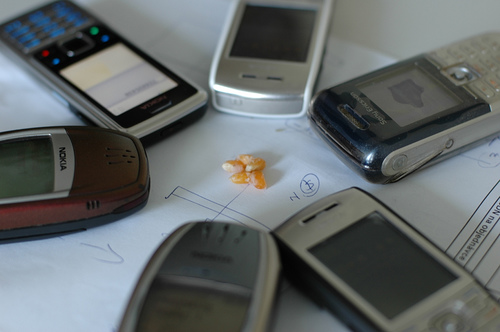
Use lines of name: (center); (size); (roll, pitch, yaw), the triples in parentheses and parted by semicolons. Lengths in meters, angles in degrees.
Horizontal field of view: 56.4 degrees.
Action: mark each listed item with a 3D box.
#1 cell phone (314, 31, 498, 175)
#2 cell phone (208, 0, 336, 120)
cell phone: (0.190, -0.064, 0.531); (0.241, 0.040, 0.110); (-22, 53, -16)
cell phone: (0.027, -0.147, 0.584); (0.132, 0.041, 0.184); (14, 78, 0)
